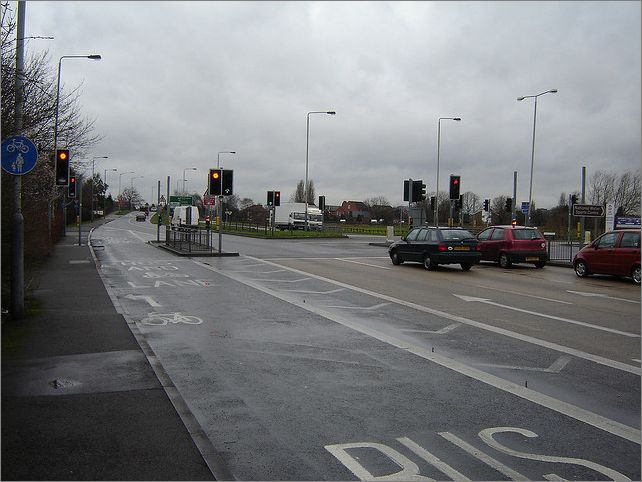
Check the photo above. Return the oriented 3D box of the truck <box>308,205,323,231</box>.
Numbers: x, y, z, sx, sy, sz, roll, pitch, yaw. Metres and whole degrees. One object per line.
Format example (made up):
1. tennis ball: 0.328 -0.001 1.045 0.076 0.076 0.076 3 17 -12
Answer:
1. truck: -0.844 -2.647 62.173 1.609 1.643 2.755 0 -1 -10

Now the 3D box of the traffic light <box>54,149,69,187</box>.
1. traffic light: -10.513 -2.969 20.604 0.492 1.393 0.652 -1 4 -29

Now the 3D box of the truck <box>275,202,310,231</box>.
1. truck: -3.920 -3.156 60.951 2.928 4.433 7.824 0 -1 -27

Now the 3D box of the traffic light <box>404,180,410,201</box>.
1. traffic light: 5.717 -3.414 34.231 0.476 1.300 0.319 4 4 43

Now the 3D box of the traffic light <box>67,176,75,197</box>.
1. traffic light: -13.604 -2.982 27.756 0.319 1.074 0.828 -1 4 -27

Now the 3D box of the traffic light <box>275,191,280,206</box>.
1. traffic light: -4.288 -4.105 48.664 0.446 1.184 0.760 1 3 7

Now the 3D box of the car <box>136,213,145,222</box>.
1. car: -33.526 -4.447 94.347 1.478 1.260 3.523 0 12 -12

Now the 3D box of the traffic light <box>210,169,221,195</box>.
1. traffic light: -5.252 -2.901 25.026 0.549 1.189 0.808 0 3 -14

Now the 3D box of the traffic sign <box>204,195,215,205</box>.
1. traffic sign: -7.769 -2.872 35.382 0.885 0.700 0.508 0 -1 -24

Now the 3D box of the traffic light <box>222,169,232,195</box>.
1. traffic light: -4.716 -2.910 25.240 0.551 1.184 0.577 -2 4 -37

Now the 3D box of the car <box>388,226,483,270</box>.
1. car: 4.539 0.193 21.069 1.585 1.169 2.862 -1 7 -22
